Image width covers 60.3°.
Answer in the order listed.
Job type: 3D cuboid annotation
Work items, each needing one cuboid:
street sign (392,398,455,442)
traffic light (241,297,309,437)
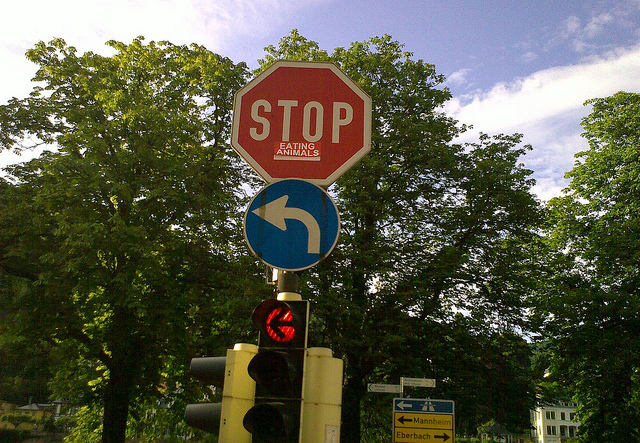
[{"bbox_3d":[3.073,5.921,16.305,1.343,1.317,0.127,2,-21,3],"label":"street sign"},{"bbox_3d":[-0.613,2.031,7.730,0.798,1.821,0.725,5,-26,0],"label":"traffic light"}]
